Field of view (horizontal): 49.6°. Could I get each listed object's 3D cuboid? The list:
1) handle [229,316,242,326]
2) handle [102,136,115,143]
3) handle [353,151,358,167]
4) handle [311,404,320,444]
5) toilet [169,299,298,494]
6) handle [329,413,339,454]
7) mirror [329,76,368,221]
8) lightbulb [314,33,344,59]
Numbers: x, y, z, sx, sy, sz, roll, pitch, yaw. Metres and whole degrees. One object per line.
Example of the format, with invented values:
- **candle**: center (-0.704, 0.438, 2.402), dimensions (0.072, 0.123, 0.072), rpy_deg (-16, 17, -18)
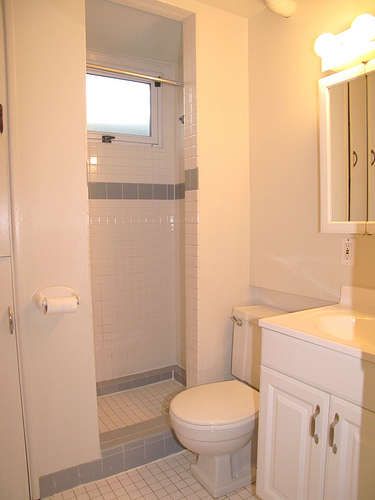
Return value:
- **handle**: center (0.250, 0.378, 2.128), dimensions (0.020, 0.031, 0.069), rpy_deg (-14, 28, -24)
- **handle**: center (-0.512, -0.705, 2.596), dimensions (0.078, 0.041, 0.012), rpy_deg (-9, 11, -29)
- **handle**: center (0.655, -0.355, 1.587), dimensions (0.005, 0.058, 0.022), rpy_deg (-6, 10, -18)
- **handle**: center (0.387, 0.526, 1.226), dimensions (0.027, 0.118, 0.019), rpy_deg (5, 12, 40)
- **toilet**: center (0.187, 0.686, 2.171), dimensions (0.817, 0.978, 0.487), rpy_deg (-1, 3, -29)
- **handle**: center (0.421, 0.528, 1.169), dimensions (0.027, 0.119, 0.023), rpy_deg (2, 10, 27)
- **mirror**: center (0.632, -0.385, 1.601), dimensions (0.043, 0.532, 0.207), rpy_deg (-7, 10, -23)
- **lightbulb**: center (0.553, -0.795, 1.587), dimensions (0.053, 0.095, 0.124), rpy_deg (-7, 10, -22)
